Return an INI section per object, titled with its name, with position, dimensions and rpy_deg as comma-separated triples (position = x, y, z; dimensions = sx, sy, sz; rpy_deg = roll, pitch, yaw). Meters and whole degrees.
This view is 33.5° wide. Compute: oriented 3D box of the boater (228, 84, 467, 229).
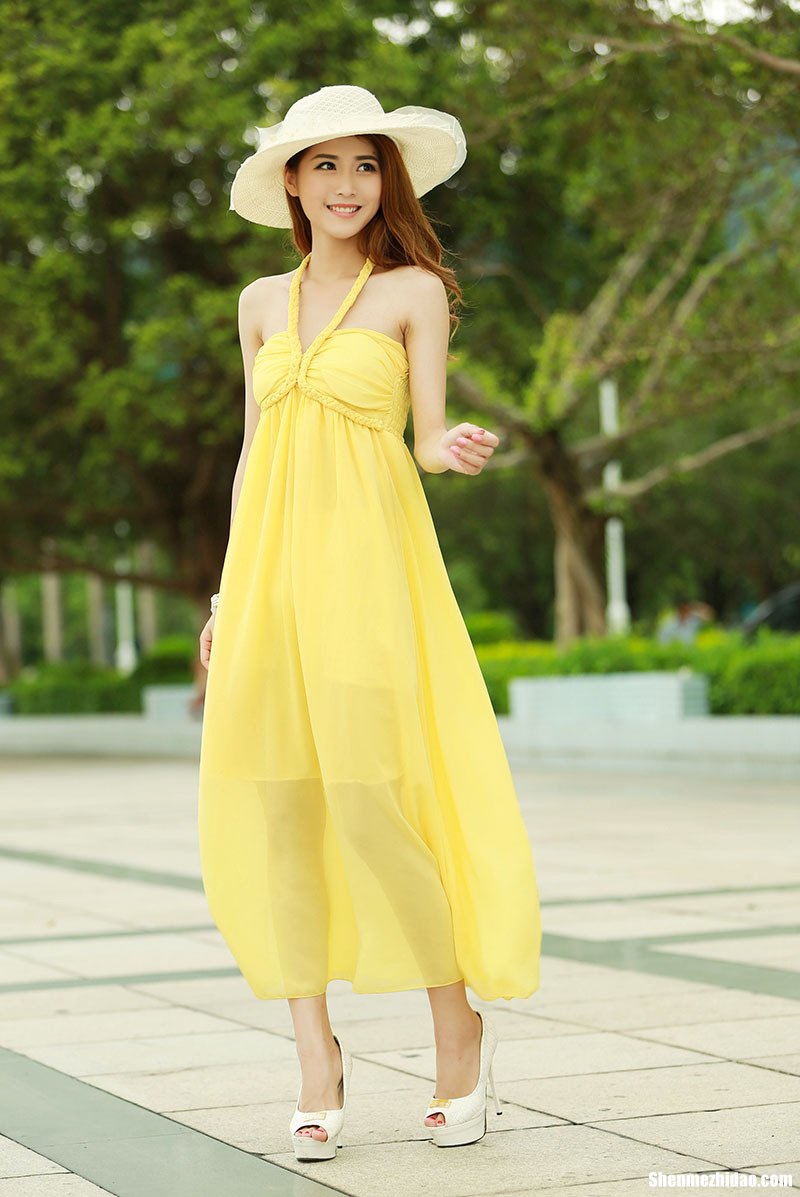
[boater]
position = -0.055, -0.812, 2.410
dimensions = 0.342, 0.127, 0.357
rpy_deg = -21, -18, 28

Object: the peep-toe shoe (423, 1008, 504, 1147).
[peep-toe shoe]
position = 0.099, 0.785, 2.164
dimensions = 0.119, 0.169, 0.219
rpy_deg = -4, 4, 3

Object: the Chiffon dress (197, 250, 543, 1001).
[Chiffon dress]
position = -0.072, 0.049, 2.222
dimensions = 0.522, 1.224, 0.294
rpy_deg = -2, 5, 25
